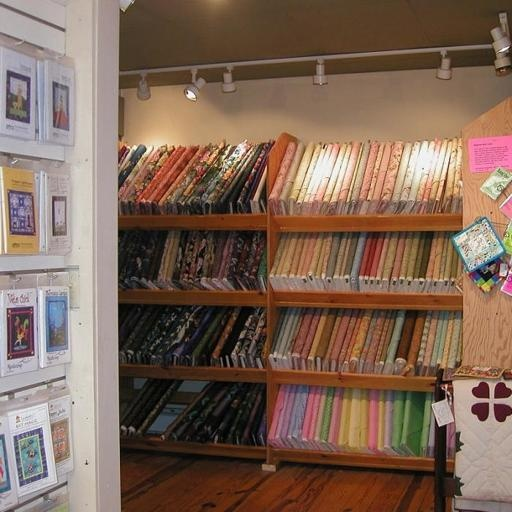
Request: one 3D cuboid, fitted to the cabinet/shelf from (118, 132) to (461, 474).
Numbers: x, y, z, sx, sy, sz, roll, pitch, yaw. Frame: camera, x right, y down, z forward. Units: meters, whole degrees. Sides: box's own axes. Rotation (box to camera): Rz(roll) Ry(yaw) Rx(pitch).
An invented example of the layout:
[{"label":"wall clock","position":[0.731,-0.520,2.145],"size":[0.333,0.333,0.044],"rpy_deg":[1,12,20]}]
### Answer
[{"label":"cabinet/shelf","position":[0.260,0.370,3.409],"size":[2.772,2.098,0.630],"rpy_deg":[0,-5,10]}]
